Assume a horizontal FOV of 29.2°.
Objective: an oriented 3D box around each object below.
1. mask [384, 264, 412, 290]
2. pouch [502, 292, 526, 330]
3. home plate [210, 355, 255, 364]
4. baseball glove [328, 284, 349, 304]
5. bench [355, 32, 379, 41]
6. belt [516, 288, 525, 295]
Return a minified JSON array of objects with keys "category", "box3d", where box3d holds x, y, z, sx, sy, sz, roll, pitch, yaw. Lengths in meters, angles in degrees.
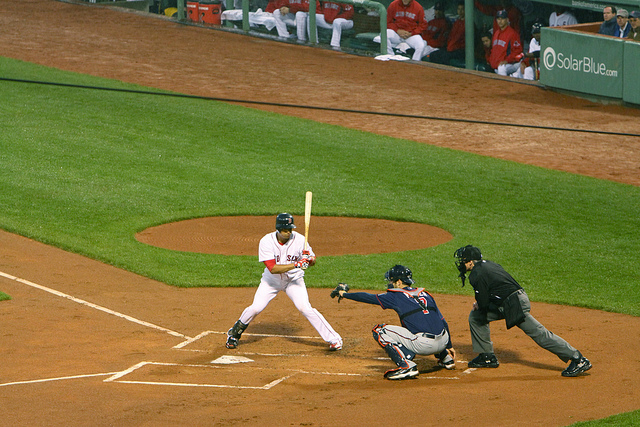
[{"category":"mask","box3d":[1.437,1.236,23.619,0.386,0.469,0.595,0,9,-39]},{"category":"pouch","box3d":[3.737,1.856,23.538,0.455,0.705,0.113,10,8,28]},{"category":"home plate","box3d":[-1.676,2.842,23.888,0.745,0.113,0.327,5,6,7]},{"category":"baseball glove","box3d":[0.389,1.527,23.601,0.449,0.215,0.254,-35,13,-18]},{"category":"bench","box3d":[1.565,-5.845,40.553,0.184,0.230,1.004,0,8,-39]},{"category":"belt","box3d":[3.862,1.497,23.577,0.099,0.109,0.045,-8,-41,9]}]
